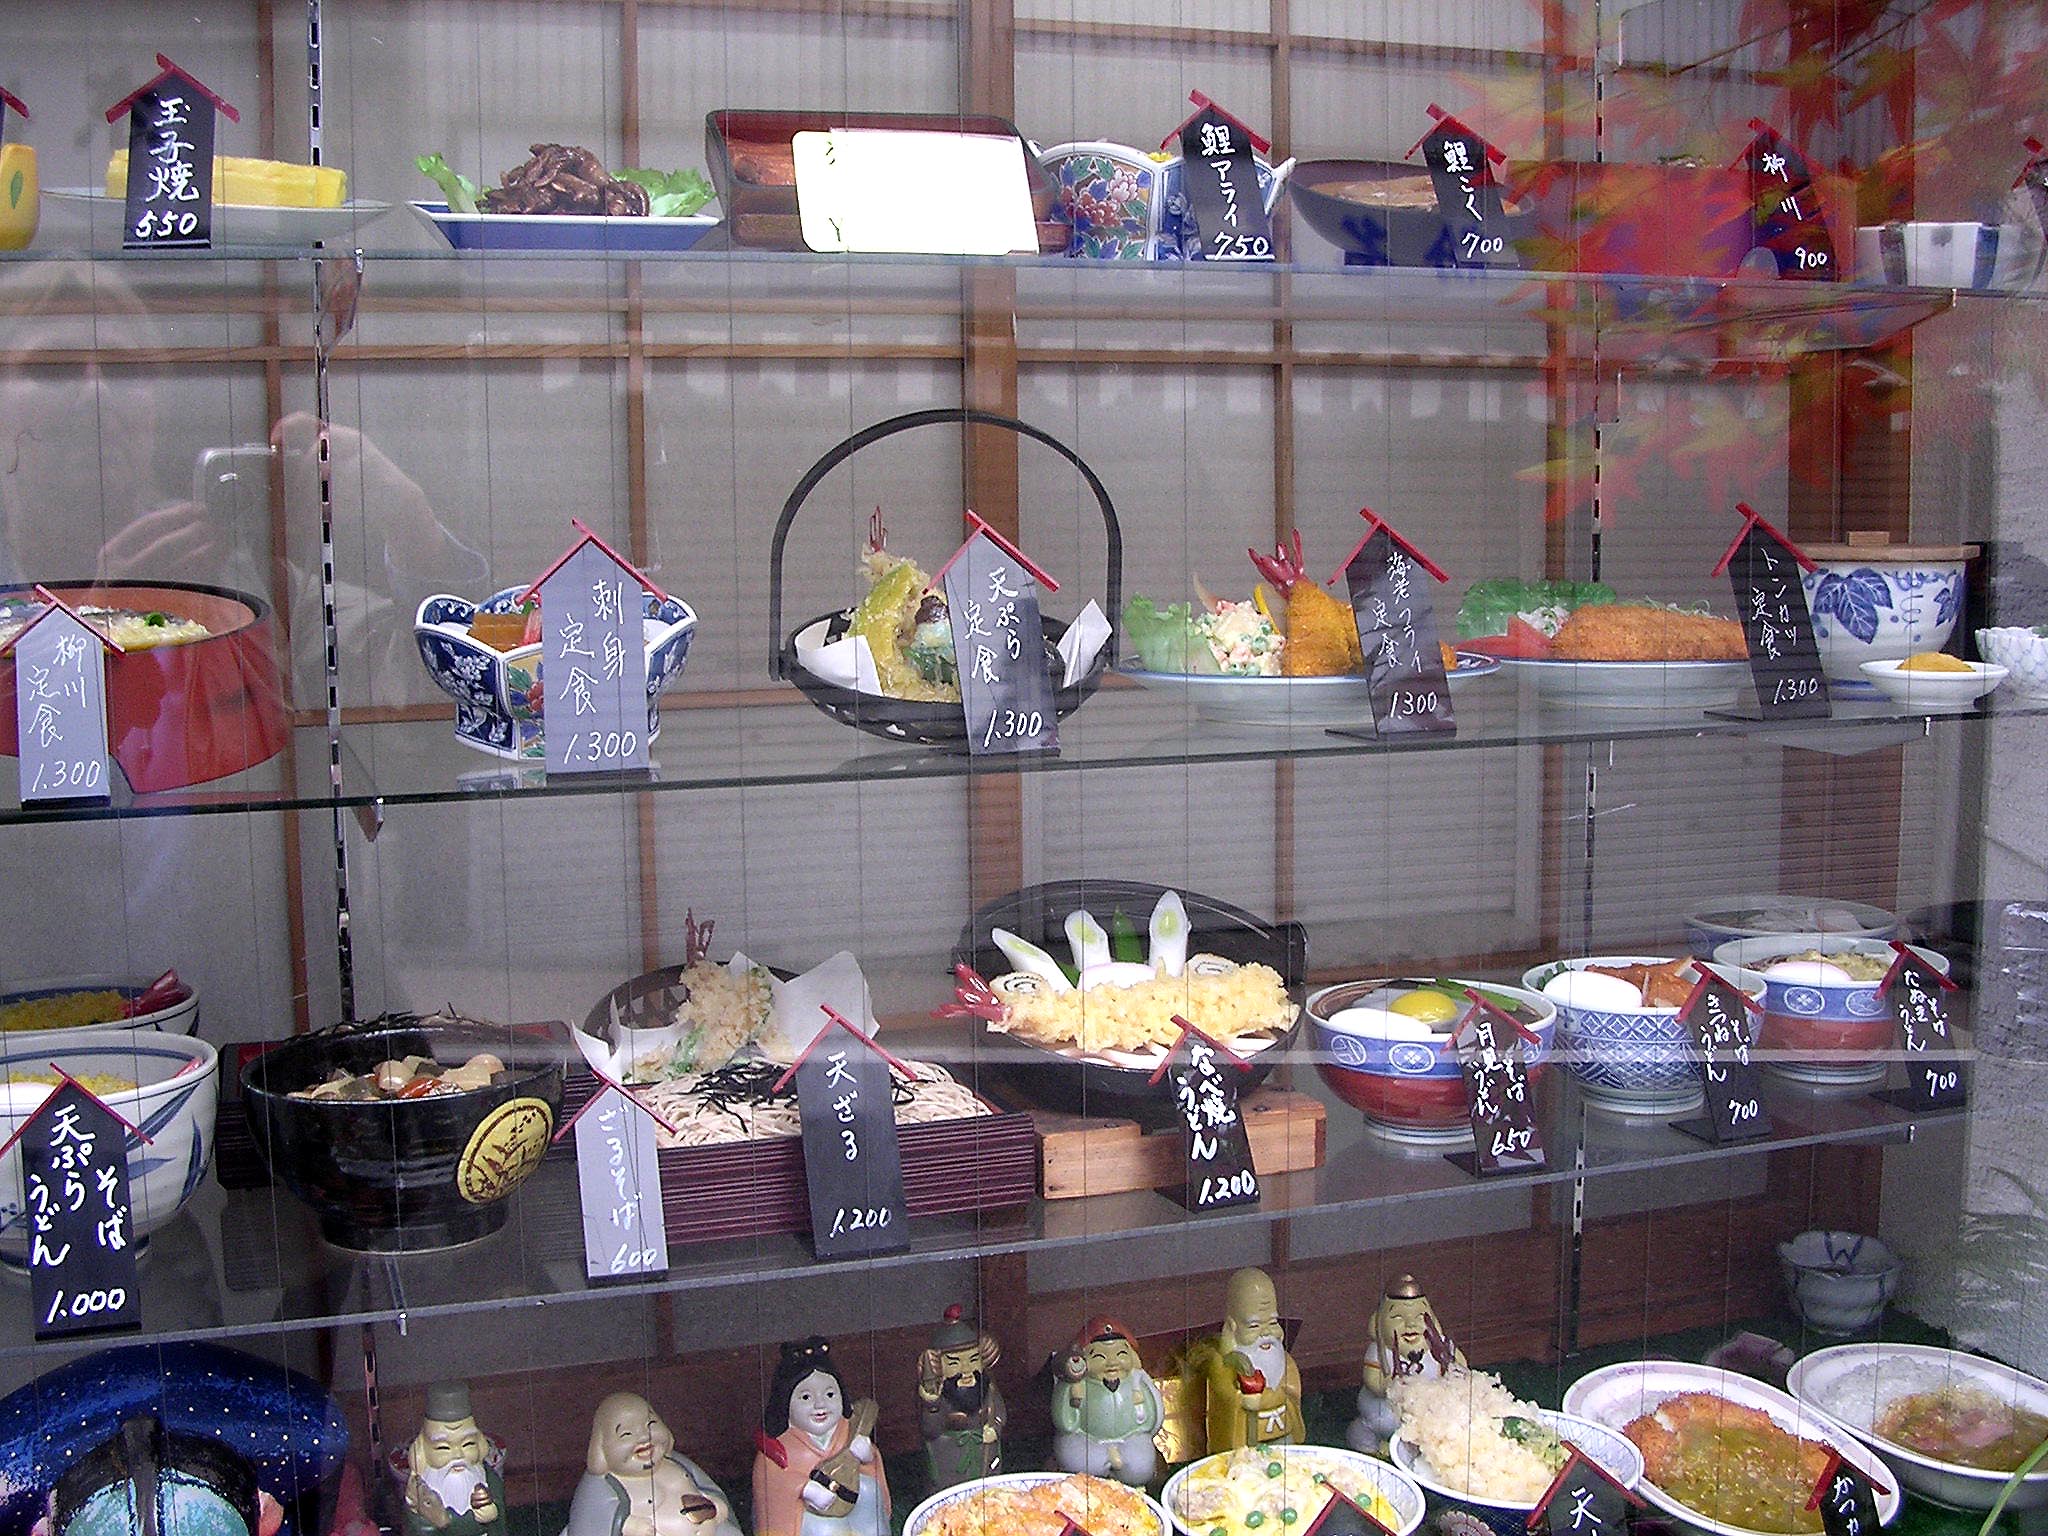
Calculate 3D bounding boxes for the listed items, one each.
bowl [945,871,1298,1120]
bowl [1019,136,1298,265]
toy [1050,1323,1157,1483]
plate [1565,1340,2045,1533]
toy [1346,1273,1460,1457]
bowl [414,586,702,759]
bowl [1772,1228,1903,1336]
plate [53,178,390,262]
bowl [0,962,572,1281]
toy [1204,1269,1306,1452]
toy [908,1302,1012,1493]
[{"bbox_3d":[0.116,0.263,2.078,0.293,0.138,0.307,2,4,0],"label":"bowl"},{"bbox_3d":[0.095,-0.646,2.010,0.181,0.149,0.129,-4,7,-10],"label":"bowl"},{"bbox_3d":[0.101,0.775,2.126,0.132,0.204,0.092,0,0,-8],"label":"toy"},{"bbox_3d":[0.967,0.839,2.265,0.307,0.076,0.340,-3,3,-18],"label":"plate"},{"bbox_3d":[0.471,0.762,2.194,0.126,0.231,0.169,4,8,44],"label":"toy"},{"bbox_3d":[-0.550,-0.093,1.991,0.269,0.139,0.279,5,8,-1],"label":"bowl"},{"bbox_3d":[1.085,0.681,2.325,0.133,0.100,0.139,0,4,0],"label":"bowl"},{"bbox_3d":[-0.870,-0.582,1.853,0.368,0.098,0.139,-5,7,-12],"label":"plate"},{"bbox_3d":[-0.683,0.407,1.929,0.352,0.226,0.223,-2,7,9],"label":"bowl"},{"bbox_3d":[0.285,0.746,2.157,0.126,0.220,0.103,-5,8,-32],"label":"toy"},{"bbox_3d":[-0.075,0.753,2.073,0.095,0.202,0.051,-4,6,-10],"label":"toy"}]
